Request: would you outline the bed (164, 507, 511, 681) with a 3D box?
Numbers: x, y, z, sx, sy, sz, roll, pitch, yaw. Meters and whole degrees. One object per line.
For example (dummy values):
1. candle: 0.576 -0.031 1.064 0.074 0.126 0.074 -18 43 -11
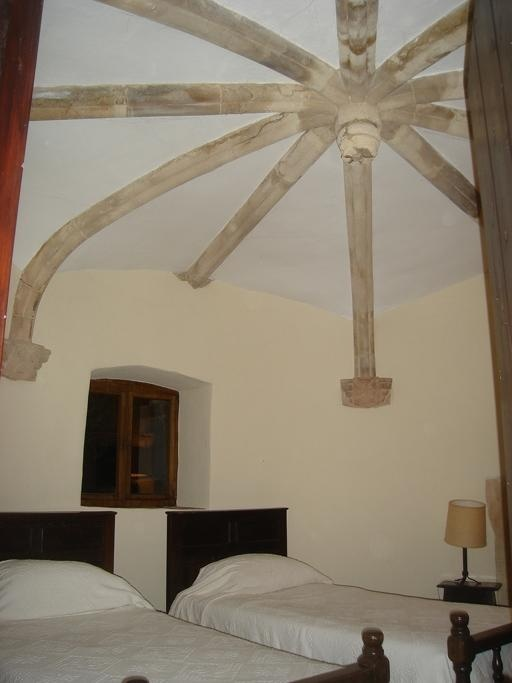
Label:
1. bed: 0.195 1.516 4.061 0.956 0.863 1.462 4 -4 -43
